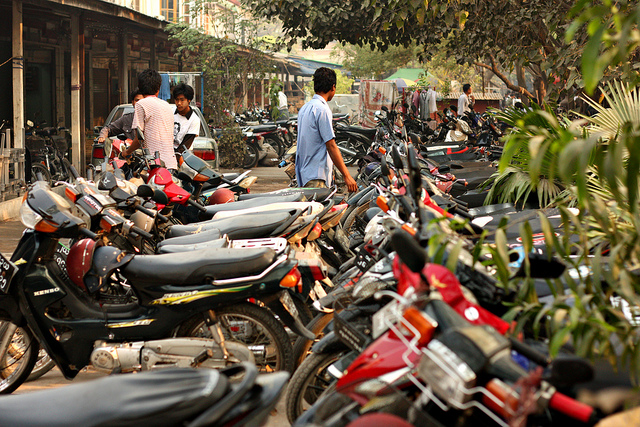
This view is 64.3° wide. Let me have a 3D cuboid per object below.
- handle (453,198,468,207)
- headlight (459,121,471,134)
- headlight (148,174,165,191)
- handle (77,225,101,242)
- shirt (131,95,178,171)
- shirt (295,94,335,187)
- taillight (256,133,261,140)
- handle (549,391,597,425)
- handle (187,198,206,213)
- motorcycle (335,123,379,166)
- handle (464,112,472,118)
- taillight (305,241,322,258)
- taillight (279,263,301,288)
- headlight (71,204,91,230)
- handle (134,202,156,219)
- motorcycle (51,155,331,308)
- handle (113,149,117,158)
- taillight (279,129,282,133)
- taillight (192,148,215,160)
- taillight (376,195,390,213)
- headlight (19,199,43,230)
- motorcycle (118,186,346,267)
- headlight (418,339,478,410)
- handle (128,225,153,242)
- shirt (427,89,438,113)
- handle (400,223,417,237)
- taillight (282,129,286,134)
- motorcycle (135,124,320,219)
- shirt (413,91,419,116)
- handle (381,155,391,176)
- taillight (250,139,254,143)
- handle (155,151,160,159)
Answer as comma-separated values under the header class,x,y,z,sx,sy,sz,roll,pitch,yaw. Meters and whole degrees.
class,x,y,z,sx,sy,sz,roll,pitch,yaw
handle,1.334,-0.103,4.856,0.104,0.027,0.019,32,37,21
headlight,3.339,-1.940,11.701,0.089,0.249,0.186,-37,-2,12
headlight,-1.683,-0.293,5.181,0.151,0.220,0.073,11,-2,-9
handle,-1.692,0.149,3.743,0.221,0.068,0.065,32,53,27
shirt,-1.993,-0.968,6.163,0.499,0.888,0.593,-4,14,-20
shirt,-0.070,-0.870,6.302,0.545,1.164,0.364,4,13,15
taillight,-1.928,-2.386,15.935,0.151,0.158,0.047,-8,15,-33
handle,1.111,0.863,2.243,0.253,0.087,0.088,24,44,-4
handle,-1.322,-0.085,5.481,0.096,0.127,0.320,-12,18,-43
motorcycle,1.359,-1.936,14.777,1.761,1.234,1.014,0,18,-4
handle,3.858,-2.524,13.164,0.111,0.104,0.329,-2,14,-10
taillight,-0.064,0.365,5.115,0.038,0.141,0.157,-22,57,3
taillight,-0.211,0.477,3.716,0.103,0.223,0.259,3,14,12
headlight,-1.842,0.023,3.921,0.139,0.184,0.048,0,12,-2
handle,-1.622,-0.034,4.733,0.177,0.049,0.052,32,28,9
motorcycle,-0.994,0.257,4.442,2.403,1.444,1.142,6,7,0
handle,-2.360,-0.695,5.881,0.048,0.070,0.016,0,-8,-10
taillight,-1.250,-2.604,16.145,0.080,0.108,0.142,-1,13,-5
taillight,-2.663,-1.373,11.842,0.548,0.295,0.333,4,19,3
taillight,0.438,-0.068,3.563,0.034,0.092,0.091,-38,55,-9
headlight,-2.099,0.016,3.662,0.197,0.149,0.093,22,15,15
motorcycle,-0.922,0.081,4.743,1.606,0.970,0.815,2,10,2
headlight,0.525,0.648,2.068,0.120,0.201,0.218,-33,59,-29
handle,-1.573,0.173,4.442,0.070,0.205,0.061,-53,35,-10
shirt,4.480,-4.507,20.457,0.357,0.892,2.063,3,14,11
handle,0.496,0.089,2.865,0.028,0.036,0.165,-25,23,-2
taillight,-1.134,-2.595,16.201,0.080,0.146,0.102,-1,13,-5
motorcycle,-1.196,-0.233,5.648,1.212,0.660,0.842,-18,66,-22
shirt,3.889,-4.642,20.660,0.227,0.577,0.824,3,14,10
handle,0.447,-0.327,3.492,0.037,0.121,0.083,-10,-3,18
taillight,-2.125,-2.268,15.915,0.108,0.038,0.115,0,36,11
handle,-1.755,-0.625,5.465,0.038,0.069,0.093,-5,14,-22
